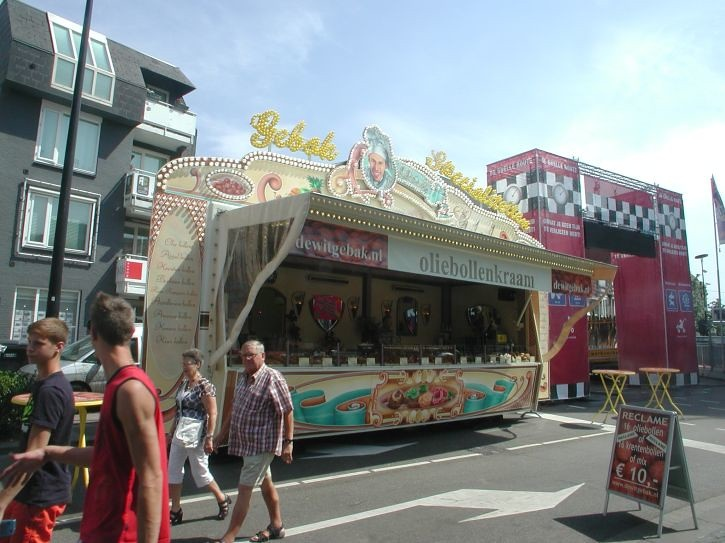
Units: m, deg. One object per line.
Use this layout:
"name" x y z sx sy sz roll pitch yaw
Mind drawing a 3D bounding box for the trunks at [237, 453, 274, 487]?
"trunks" -1.249 2.298 6.429 0.367 0.378 0.211 4 -7 -12

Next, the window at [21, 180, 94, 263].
"window" -9.506 -1.510 16.851 2.472 2.333 0.296 12 -15 -43

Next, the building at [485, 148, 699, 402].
"building" 7.745 0.379 18.633 8.068 7.578 2.490 7 -8 -42

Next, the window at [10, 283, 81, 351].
"window" -7.734 0.981 13.123 1.794 1.773 0.188 9 -13 -41
